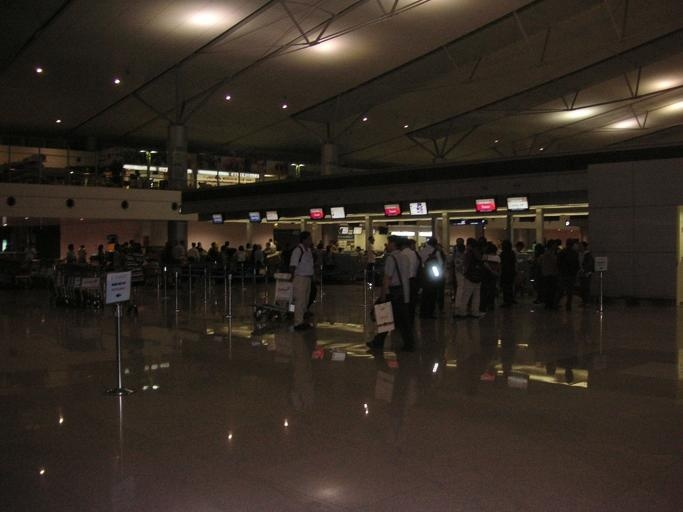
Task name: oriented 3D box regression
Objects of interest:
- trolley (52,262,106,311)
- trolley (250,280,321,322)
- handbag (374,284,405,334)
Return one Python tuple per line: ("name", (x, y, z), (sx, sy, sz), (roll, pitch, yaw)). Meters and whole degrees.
("trolley", (-6.740, 0.765, 14.228), (1.726, 1.101, 0.979), (2, 2, 43))
("trolley", (-1.219, 0.882, 11.657), (0.751, 0.938, 1.301), (3, 13, 26))
("handbag", (0.757, 0.861, 8.676), (0.475, 0.793, 0.874), (1, 2, 9))
